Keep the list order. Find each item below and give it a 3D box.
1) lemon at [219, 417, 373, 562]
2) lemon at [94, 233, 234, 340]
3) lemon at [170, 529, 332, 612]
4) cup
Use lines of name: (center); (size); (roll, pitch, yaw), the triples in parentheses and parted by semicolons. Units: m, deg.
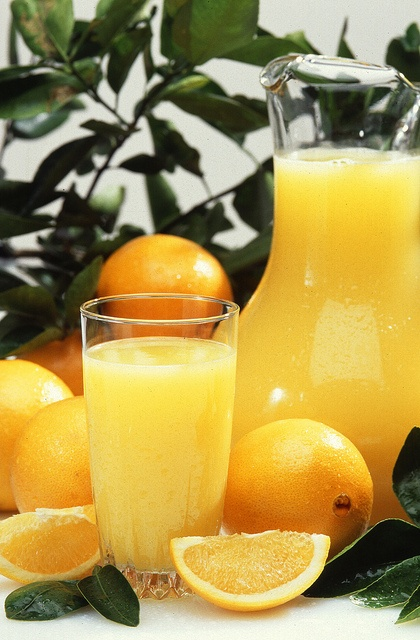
lemon: (0.055, 0.097, 0.401); (0.095, 0.080, 0.083); (0, 1, 44)
lemon: (-0.040, -0.031, 0.476); (0.106, 0.097, 0.096); (6, 49, 0)
lemon: (0.023, 0.130, 0.311); (0.058, 0.021, 0.049); (-6, 11, 25)
cup: (-0.033, 0.064, 0.364); (0.093, 0.152, 0.129); (2, 23, 10)
